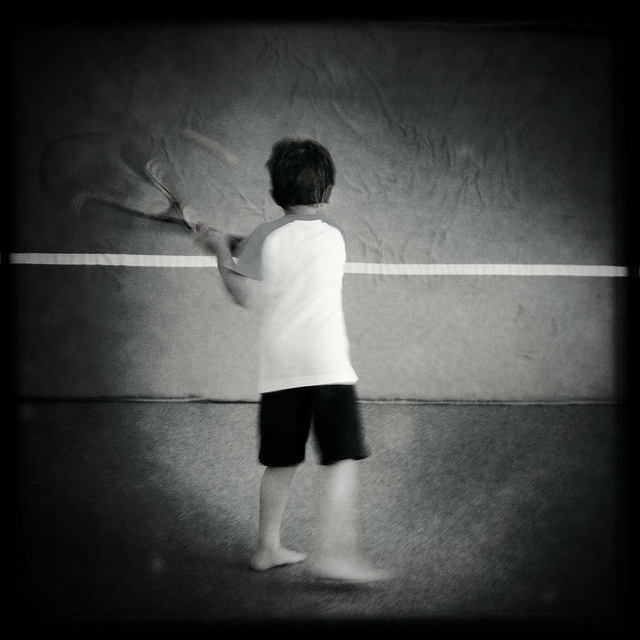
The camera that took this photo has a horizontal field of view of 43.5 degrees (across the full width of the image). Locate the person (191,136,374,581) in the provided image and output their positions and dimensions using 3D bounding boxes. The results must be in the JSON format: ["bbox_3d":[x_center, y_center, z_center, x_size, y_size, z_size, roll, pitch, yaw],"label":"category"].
[{"bbox_3d":[-0.127,0.098,2.584,0.573,1.389,0.320,-1,-2,19],"label":"person"}]
